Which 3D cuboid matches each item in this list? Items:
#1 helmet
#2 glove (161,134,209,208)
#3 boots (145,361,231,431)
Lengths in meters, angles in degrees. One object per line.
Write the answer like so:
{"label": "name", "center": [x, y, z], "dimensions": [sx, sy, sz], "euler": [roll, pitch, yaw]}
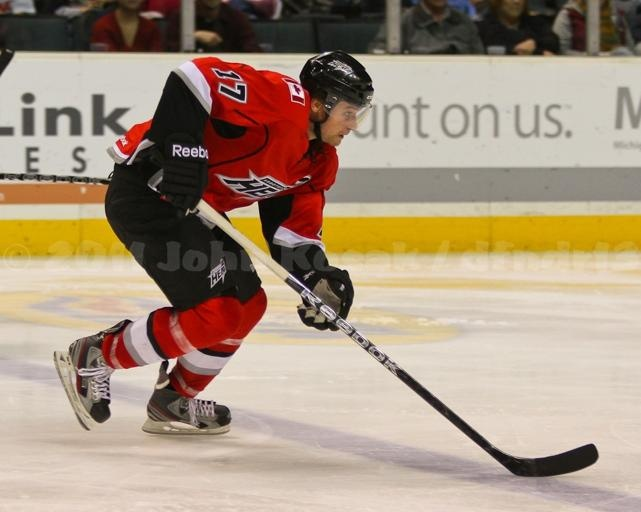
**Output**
{"label": "helmet", "center": [0.057, -0.511, 2.933], "dimensions": [0.268, 0.196, 0.210], "euler": [16, 13, 1]}
{"label": "glove", "center": [-0.375, -0.235, 2.736], "dimensions": [0.171, 0.187, 0.058], "euler": [5, 10, -16]}
{"label": "boots", "center": [-0.414, 0.505, 3.136], "dimensions": [0.397, 0.233, 0.148], "euler": [0, -4, -5]}
